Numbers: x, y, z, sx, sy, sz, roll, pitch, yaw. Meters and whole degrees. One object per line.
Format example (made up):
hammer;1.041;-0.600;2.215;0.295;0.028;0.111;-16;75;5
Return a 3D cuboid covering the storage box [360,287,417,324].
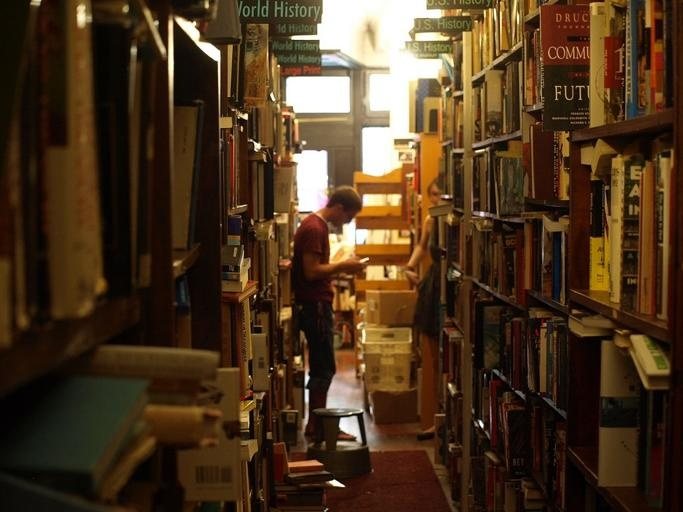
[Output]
storage box;0.403;0.428;6.322;0.265;0.216;0.302;2;2;-6

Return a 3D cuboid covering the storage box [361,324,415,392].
storage box;0.386;0.724;6.310;0.343;0.501;0.615;-1;2;2

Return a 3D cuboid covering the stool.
stool;0.002;1.280;5.221;0.363;0.446;0.402;-4;-6;9

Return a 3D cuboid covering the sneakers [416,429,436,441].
sneakers;0.655;1.371;5.873;0.086;0.056;0.133;0;10;12
